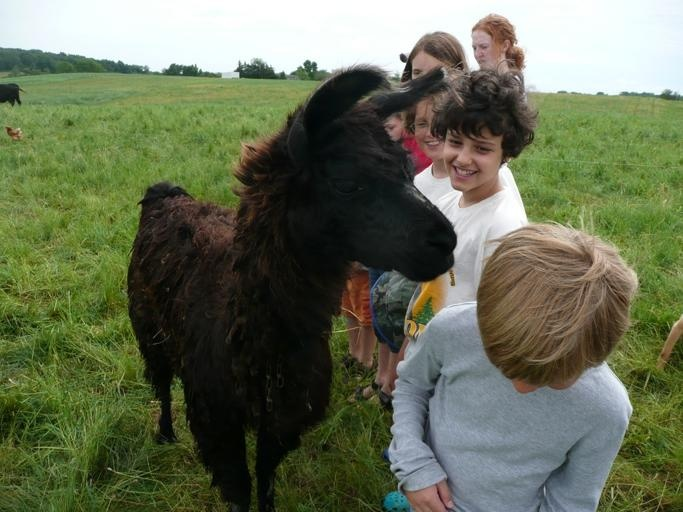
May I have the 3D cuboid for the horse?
[{"bbox_3d":[-0.561,0.260,4.519,2.480,3.396,1.146,22,24,36],"label":"horse"}]
